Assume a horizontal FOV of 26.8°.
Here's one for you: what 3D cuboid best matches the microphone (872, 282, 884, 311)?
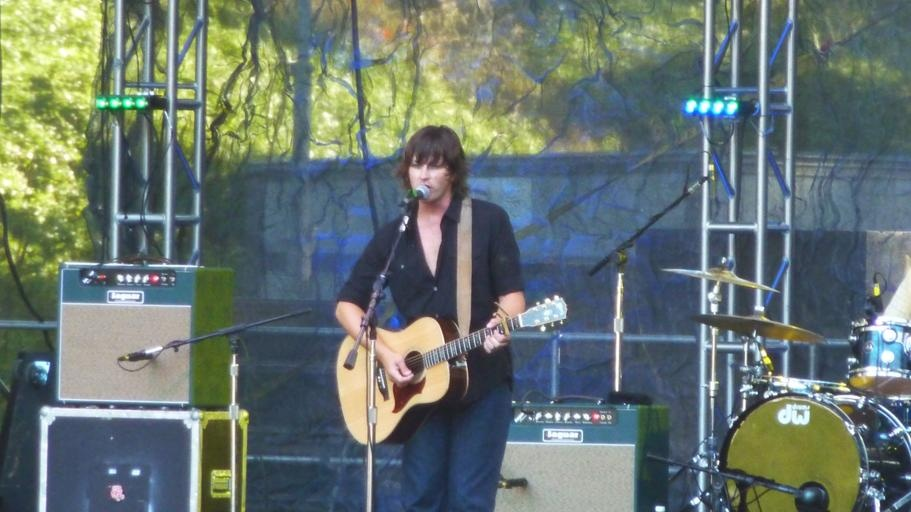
[{"bbox_3d":[3.672,0.359,16.681,0.076,0.263,0.300,0,-3,12],"label":"microphone"}]

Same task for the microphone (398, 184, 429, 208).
[{"bbox_3d":[-0.359,-0.463,15.765,0.138,0.098,0.361,-30,-2,-26],"label":"microphone"}]

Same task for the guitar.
[{"bbox_3d":[-0.181,0.961,15.791,2.045,0.947,0.289,-17,-13,26],"label":"guitar"}]

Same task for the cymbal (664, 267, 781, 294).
[{"bbox_3d":[2.403,0.198,16.925,0.813,0.204,1.132,0,-3,12],"label":"cymbal"}]

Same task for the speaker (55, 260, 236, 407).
[{"bbox_3d":[-2.680,0.688,16.273,1.353,1.197,0.334,2,-2,-16],"label":"speaker"}]

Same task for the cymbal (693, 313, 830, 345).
[{"bbox_3d":[2.574,0.621,16.494,1.017,0.354,0.623,0,-2,-24],"label":"cymbal"}]
